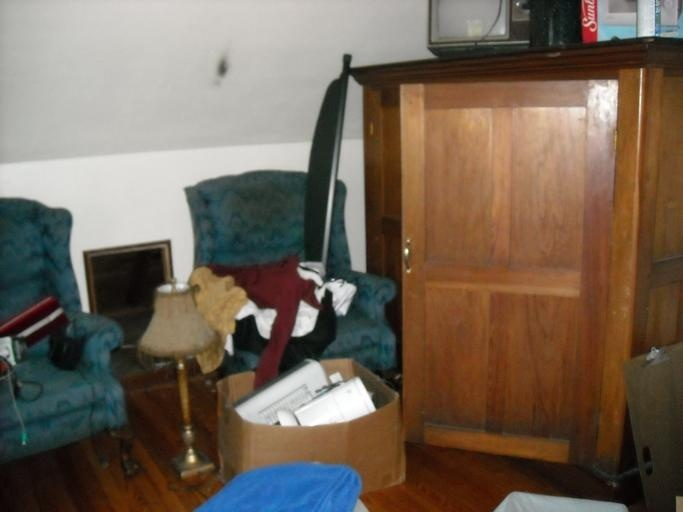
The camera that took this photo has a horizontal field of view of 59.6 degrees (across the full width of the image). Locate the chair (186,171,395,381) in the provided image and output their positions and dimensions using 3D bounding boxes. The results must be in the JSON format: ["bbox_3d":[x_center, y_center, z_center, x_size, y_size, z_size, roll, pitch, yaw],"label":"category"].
[{"bbox_3d":[-0.369,0.132,3.563,1.094,1.414,1.118,-10,12,-19],"label":"chair"}]

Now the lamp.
[{"bbox_3d":[-0.719,0.569,2.701,0.353,0.855,0.318,-8,11,-29],"label":"lamp"}]

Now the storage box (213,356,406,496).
[{"bbox_3d":[-0.155,0.788,2.668,0.706,0.497,0.647,-14,17,-36],"label":"storage box"}]
